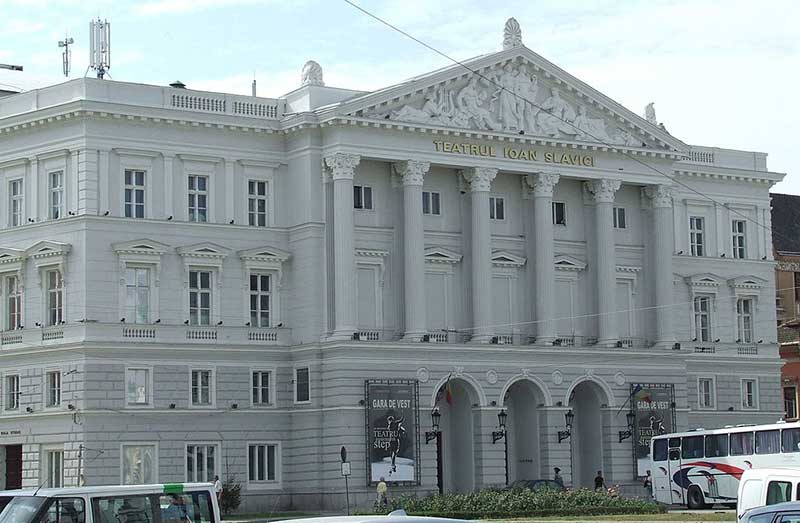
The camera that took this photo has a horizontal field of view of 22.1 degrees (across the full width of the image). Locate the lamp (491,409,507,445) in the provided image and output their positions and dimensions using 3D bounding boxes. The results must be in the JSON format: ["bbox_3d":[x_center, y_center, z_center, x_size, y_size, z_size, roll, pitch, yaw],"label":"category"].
[{"bbox_3d":[5.941,9.832,121.997,0.576,2.044,0.988,-12,-11,43],"label":"lamp"}]

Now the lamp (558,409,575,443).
[{"bbox_3d":[10.060,9.969,124.007,0.661,2.122,1.180,-10,-10,36],"label":"lamp"}]

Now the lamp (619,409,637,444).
[{"bbox_3d":[13.906,10.098,125.289,1.152,1.993,0.319,-3,-8,-1],"label":"lamp"}]
